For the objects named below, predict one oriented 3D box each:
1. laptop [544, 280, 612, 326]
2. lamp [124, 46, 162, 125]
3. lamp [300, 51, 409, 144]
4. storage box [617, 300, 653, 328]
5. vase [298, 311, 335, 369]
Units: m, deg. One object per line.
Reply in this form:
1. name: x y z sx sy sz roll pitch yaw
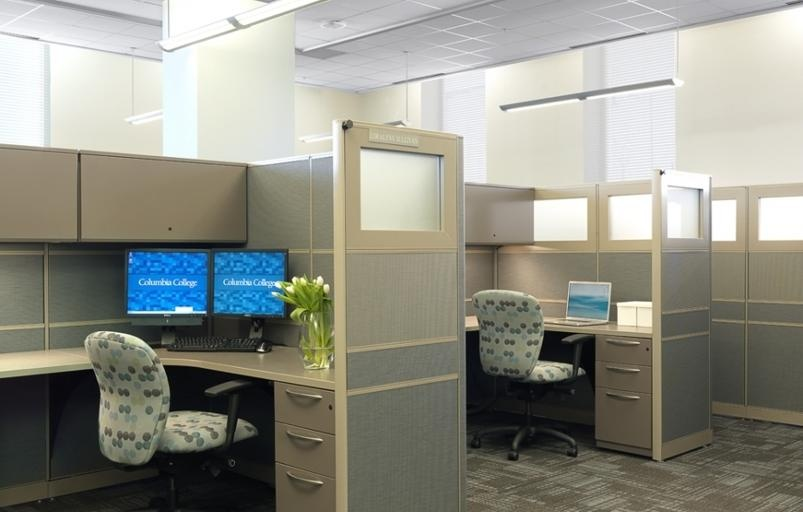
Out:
1. laptop: 1.737 0.440 5.760 0.456 0.361 0.532 2 -2 -44
2. lamp: -3.894 -2.551 8.995 0.473 0.849 0.171 -3 8 -22
3. lamp: -0.851 -2.650 10.339 1.536 0.856 1.495 -1 3 -39
4. storage box: 2.137 0.535 5.450 0.257 0.143 0.257 0 -1 42
5. vase: -0.547 0.559 3.981 0.279 0.354 0.279 -4 0 -44
